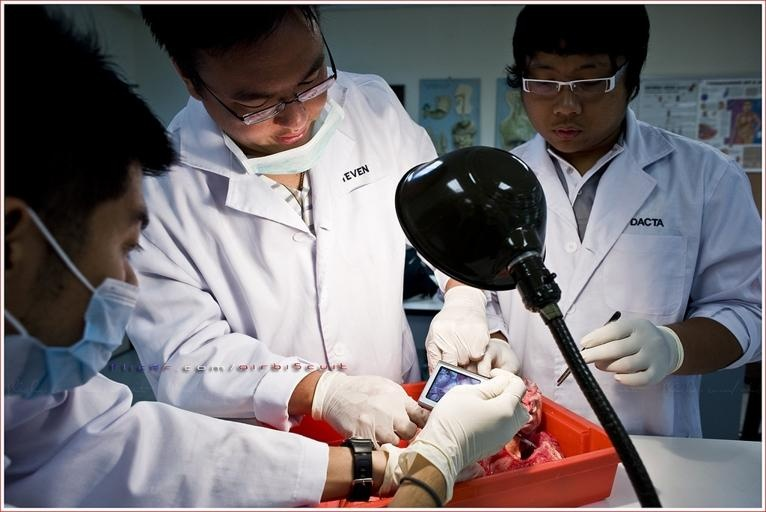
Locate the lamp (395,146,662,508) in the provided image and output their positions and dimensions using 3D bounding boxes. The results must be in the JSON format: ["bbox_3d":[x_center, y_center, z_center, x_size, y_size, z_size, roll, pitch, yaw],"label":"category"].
[{"bbox_3d":[0.357,0.061,1.991,0.496,0.450,1.281,-19,59,-18],"label":"lamp"}]

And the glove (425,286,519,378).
[{"bbox_3d":[0.390,0.262,2.685,0.325,0.171,0.413,27,32,-15],"label":"glove"}]
